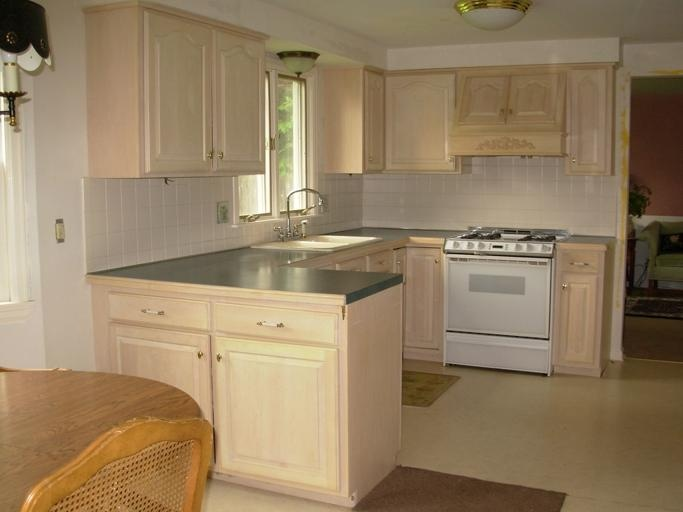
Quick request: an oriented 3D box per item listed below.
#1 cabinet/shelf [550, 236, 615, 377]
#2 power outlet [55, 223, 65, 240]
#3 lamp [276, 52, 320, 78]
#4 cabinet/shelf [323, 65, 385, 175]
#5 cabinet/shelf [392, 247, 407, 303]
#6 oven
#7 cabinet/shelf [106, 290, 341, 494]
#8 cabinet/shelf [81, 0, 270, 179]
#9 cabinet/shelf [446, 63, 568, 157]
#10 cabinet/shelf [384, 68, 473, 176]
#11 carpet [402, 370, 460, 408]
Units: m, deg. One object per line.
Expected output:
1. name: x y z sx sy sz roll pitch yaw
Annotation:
1. cabinet/shelf: 2.074 0.464 4.487 0.422 1.163 0.167 3 10 19
2. power outlet: -1.591 -0.129 2.908 0.012 0.107 0.055 4 10 27
3. lamp: -0.384 -1.619 4.347 0.271 0.124 0.261 -1 3 -11
4. cabinet/shelf: 0.122 -1.311 5.150 0.532 0.946 0.527 5 14 21
5. cabinet/shelf: 0.540 0.202 4.707 0.125 0.536 0.386 1 9 7
6. oven: 1.502 0.471 4.834 0.980 1.056 0.820 3 4 28
7. cabinet/shelf: -0.610 0.691 2.994 1.579 1.041 0.549 3 8 25
8. cabinet/shelf: -1.020 -0.984 3.030 0.485 0.919 1.245 3 7 24
9. cabinet/shelf: 1.579 -1.327 4.887 0.993 0.773 0.346 3 5 14
10. cabinet/shelf: 0.898 -1.405 5.373 0.919 0.990 0.849 15 27 43
11. carpet: 0.710 1.085 4.224 0.478 0.013 0.772 2 8 15
